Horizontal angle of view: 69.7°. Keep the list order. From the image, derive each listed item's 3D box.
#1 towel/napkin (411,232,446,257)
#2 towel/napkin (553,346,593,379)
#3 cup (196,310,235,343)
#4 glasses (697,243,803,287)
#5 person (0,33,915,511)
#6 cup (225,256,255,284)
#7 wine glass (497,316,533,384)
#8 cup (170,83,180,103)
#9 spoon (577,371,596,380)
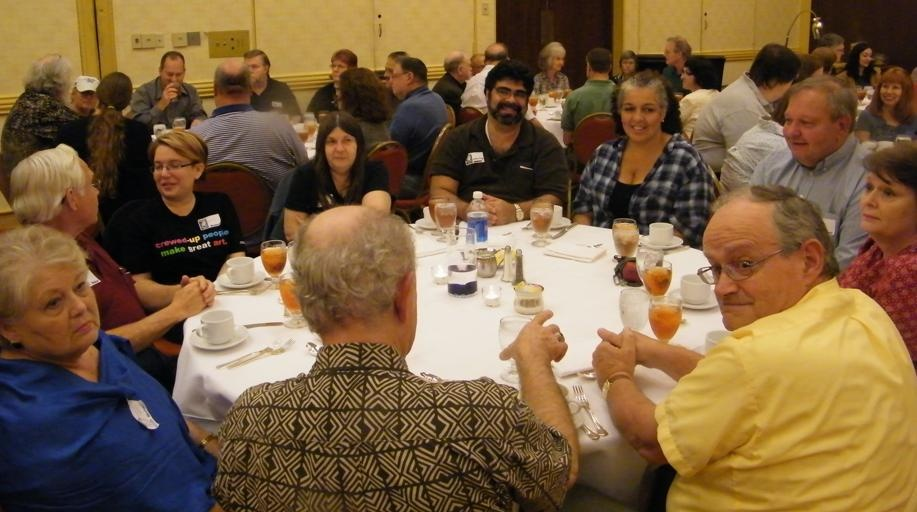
[{"bbox_3d":[-0.155,-0.047,3.407,0.140,0.016,0.153,-3,20,-16],"label":"towel/napkin"},{"bbox_3d":[0.445,0.413,2.536,0.203,0.054,0.127,-5,20,-17],"label":"towel/napkin"},{"bbox_3d":[-0.986,0.284,2.695,0.148,0.110,0.110,-11,34,-34],"label":"cup"},{"bbox_3d":[1.024,0.034,2.278,0.173,0.045,0.167,-25,3,-25],"label":"glasses"},{"bbox_3d":[0.163,0.263,2.910,2.484,0.809,1.525,4,19,9],"label":"person"},{"bbox_3d":[-1.033,0.074,3.149,0.104,0.094,0.135,11,21,19],"label":"cup"},{"bbox_3d":[0.211,0.354,2.499,0.117,0.193,0.251,3,19,5],"label":"wine glass"},{"bbox_3d":[-2.788,-1.596,6.415,0.123,0.126,0.126,5,38,-4],"label":"cup"},{"bbox_3d":[0.494,0.456,2.483,0.090,0.015,0.021,3,6,-29],"label":"spoon"}]
